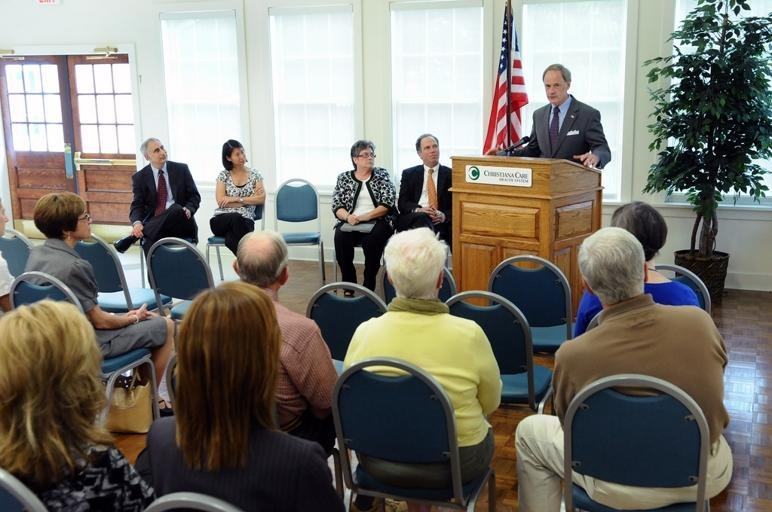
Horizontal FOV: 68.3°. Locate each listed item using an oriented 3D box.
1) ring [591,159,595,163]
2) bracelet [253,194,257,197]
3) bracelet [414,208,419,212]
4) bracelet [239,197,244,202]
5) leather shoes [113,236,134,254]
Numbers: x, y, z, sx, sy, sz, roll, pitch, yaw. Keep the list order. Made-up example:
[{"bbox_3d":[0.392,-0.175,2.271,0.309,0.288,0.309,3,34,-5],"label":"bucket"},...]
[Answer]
[{"bbox_3d":[1.648,-0.750,4.461,0.028,0.029,0.007,22,3,7],"label":"ring"},{"bbox_3d":[-1.438,-0.670,6.224,0.028,0.032,0.030,0,-1,-3],"label":"bracelet"},{"bbox_3d":[0.327,-0.473,5.800,0.039,0.040,0.039,-5,11,-34],"label":"bracelet"},{"bbox_3d":[-1.558,-0.615,6.138,0.041,0.046,0.010,1,-19,2],"label":"bracelet"},{"bbox_3d":[-2.675,-0.141,5.781,0.129,0.145,0.298,-43,21,-13],"label":"leather shoes"}]
